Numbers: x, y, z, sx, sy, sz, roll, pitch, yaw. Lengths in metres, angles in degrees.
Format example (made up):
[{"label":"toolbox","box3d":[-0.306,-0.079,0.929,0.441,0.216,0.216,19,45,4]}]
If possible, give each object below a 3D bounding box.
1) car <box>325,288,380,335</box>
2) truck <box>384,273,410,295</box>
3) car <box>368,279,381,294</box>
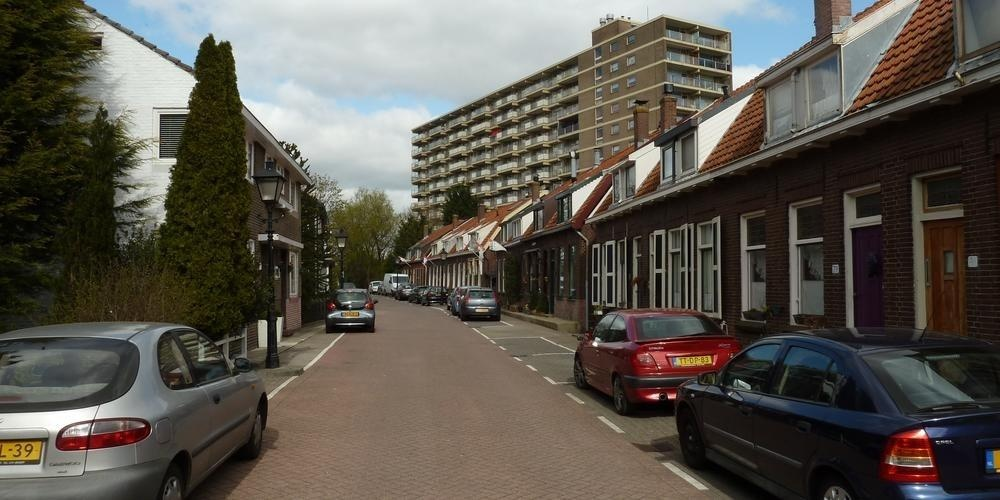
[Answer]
[{"label":"car","box3d":[-6.690,2.818,33.657,2.019,1.821,1.089,2,5,-8]},{"label":"truck","box3d":[-11.114,3.617,81.104,2.264,1.875,3.826,1,-6,-20]},{"label":"car","box3d":[-14.498,4.171,86.622,1.317,0.976,2.074,1,-6,-22]}]
